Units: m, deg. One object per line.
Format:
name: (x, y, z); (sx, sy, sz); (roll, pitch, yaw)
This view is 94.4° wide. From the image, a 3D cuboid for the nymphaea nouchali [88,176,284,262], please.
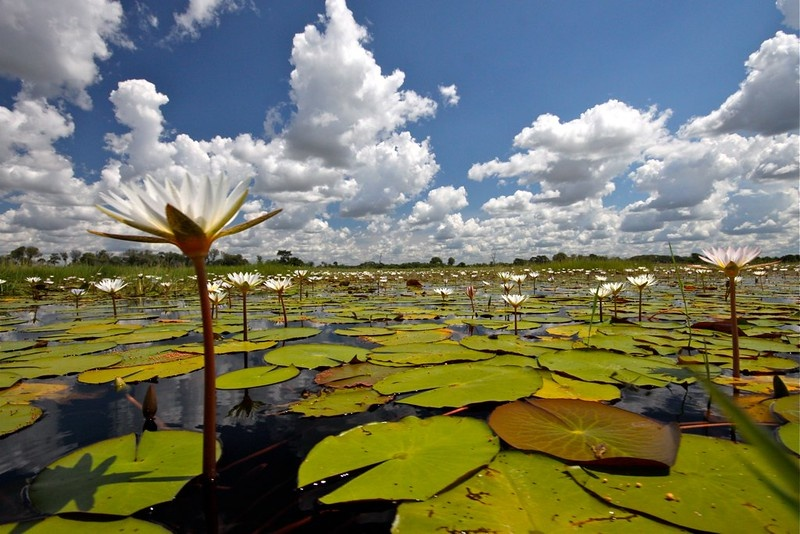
nymphaea nouchali: (-1.077, -0.196, 1.884); (0.689, 0.266, 0.680); (-14, -3, 39)
